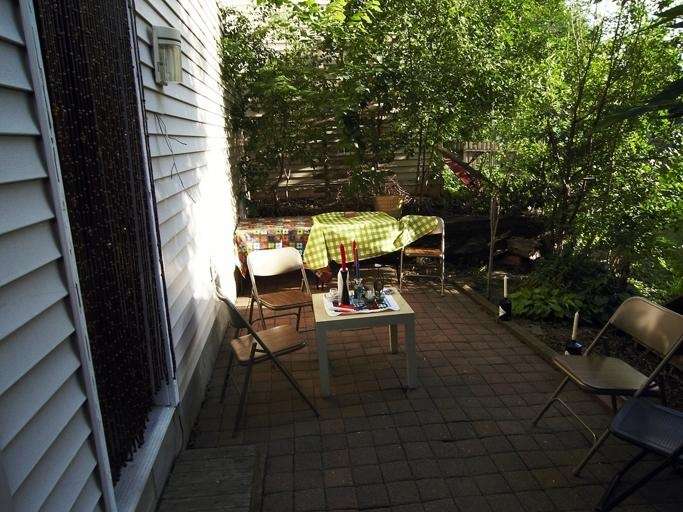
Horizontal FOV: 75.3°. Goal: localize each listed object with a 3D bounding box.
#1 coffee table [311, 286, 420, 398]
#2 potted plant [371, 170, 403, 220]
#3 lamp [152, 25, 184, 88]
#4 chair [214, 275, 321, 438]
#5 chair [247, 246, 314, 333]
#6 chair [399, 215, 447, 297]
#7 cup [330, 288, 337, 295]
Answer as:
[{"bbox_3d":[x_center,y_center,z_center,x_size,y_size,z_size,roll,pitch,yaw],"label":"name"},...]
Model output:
[{"bbox_3d":[0.194,0.700,4.361,1.005,0.726,1.001,-4,9,-2],"label":"coffee table"},{"bbox_3d":[0.919,-1.160,8.136,0.634,0.627,0.544,3,10,-15],"label":"potted plant"},{"bbox_3d":[-1.349,-1.547,3.423,0.262,0.420,0.219,-13,22,-23],"label":"lamp"},{"bbox_3d":[-0.651,0.843,3.909,0.827,1.019,0.679,-5,8,-29],"label":"chair"},{"bbox_3d":[-0.668,0.478,5.096,0.733,1.028,0.764,-8,17,-37],"label":"chair"},{"bbox_3d":[1.234,-0.011,6.950,0.844,1.111,0.868,5,17,21],"label":"chair"},{"bbox_3d":[-0.088,0.363,4.520,0.066,0.046,0.050,-8,17,-29],"label":"cup"}]
